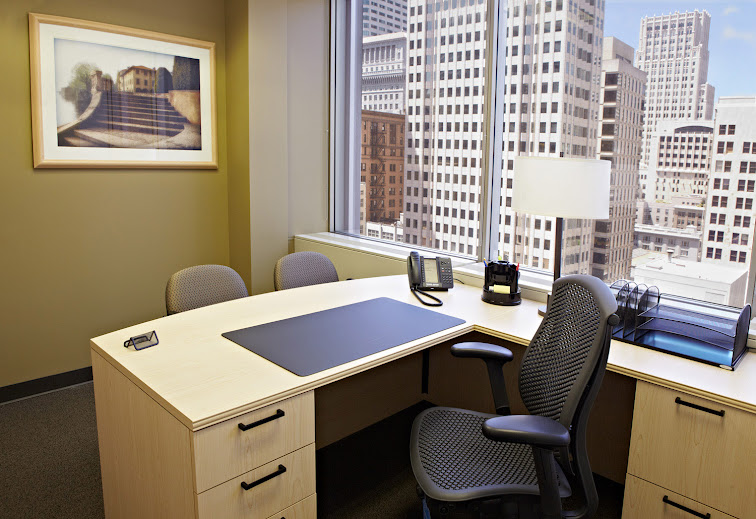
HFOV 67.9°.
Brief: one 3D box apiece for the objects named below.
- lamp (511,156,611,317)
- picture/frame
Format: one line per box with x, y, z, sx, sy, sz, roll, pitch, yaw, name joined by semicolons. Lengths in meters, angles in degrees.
1.000;-0.225;3.329;0.585;1.059;0.633;-2;5;-28;lamp
-1.925;-1.253;4.125;1.195;0.940;0.032;-4;10;-41;picture/frame
